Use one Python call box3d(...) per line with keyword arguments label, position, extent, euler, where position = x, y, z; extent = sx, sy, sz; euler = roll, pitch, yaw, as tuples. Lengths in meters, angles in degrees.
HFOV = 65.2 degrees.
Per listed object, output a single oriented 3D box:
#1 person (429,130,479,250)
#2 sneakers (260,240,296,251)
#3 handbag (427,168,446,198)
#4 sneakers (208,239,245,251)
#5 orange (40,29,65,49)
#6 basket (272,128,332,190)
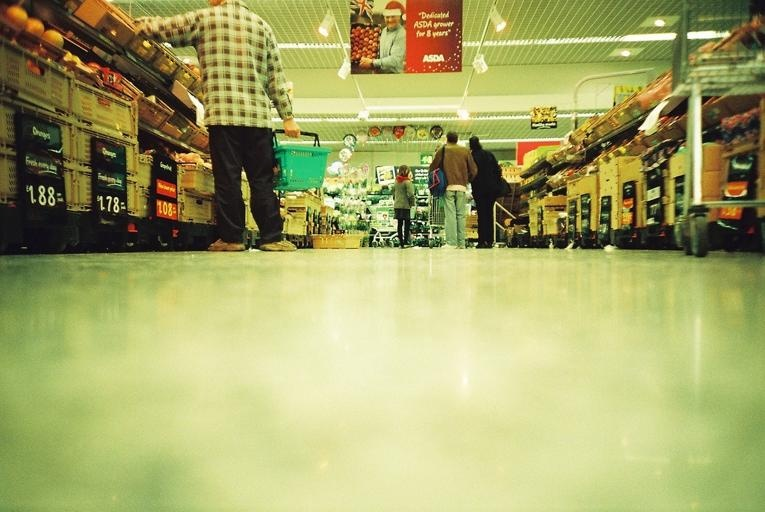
box3d(label="person", position=(0.756, -0.694, 6.598), extent=(0.491, 1.274, 0.748), euler=(3, 10, 8))
box3d(label="sneakers", position=(-0.666, -0.059, 3.793), extent=(0.236, 0.097, 0.080), euler=(-1, 8, -10))
box3d(label="handbag", position=(0.605, -0.801, 6.624), extent=(0.178, 0.322, 0.280), euler=(2, 10, 1))
box3d(label="sneakers", position=(-0.977, -0.063, 3.726), extent=(0.215, 0.092, 0.082), euler=(2, 2, -14))
box3d(label="orange", position=(-1.821, -1.184, 3.288), extent=(0.087, 0.114, 0.202), euler=(-2, 11, -24))
box3d(label="basket", position=(-0.645, -0.700, 4.471), extent=(0.373, 0.454, 0.507), euler=(-3, 0, -30))
